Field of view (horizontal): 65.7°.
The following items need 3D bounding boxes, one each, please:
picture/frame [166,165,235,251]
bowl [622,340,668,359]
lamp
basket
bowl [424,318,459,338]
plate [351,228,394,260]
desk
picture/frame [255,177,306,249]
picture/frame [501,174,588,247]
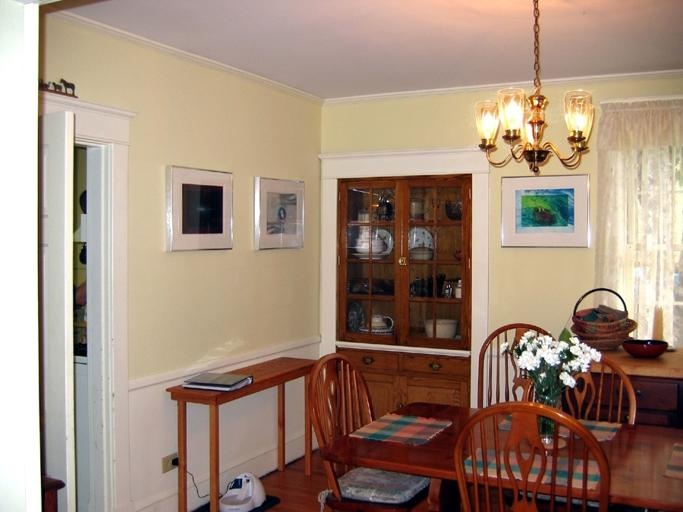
[{"bbox_3d":[-0.991,-0.336,3.709,0.059,0.612,0.610,0,1,38],"label":"picture/frame"},{"bbox_3d":[2.080,0.631,3.641,0.175,0.069,0.183,-3,1,0],"label":"bowl"},{"bbox_3d":[1.089,-0.923,3.169,0.541,0.933,1.276,-2,3,15],"label":"lamp"},{"bbox_3d":[1.850,0.428,3.948,0.437,0.491,0.491,-2,-1,4],"label":"basket"},{"bbox_3d":[0.876,0.630,4.622,0.178,0.119,0.189,0,-6,0],"label":"bowl"},{"bbox_3d":[0.306,-0.112,4.858,0.248,0.184,0.305,0,-8,7],"label":"plate"},{"bbox_3d":[-0.731,1.294,3.816,0.343,0.843,1.098,0,2,26],"label":"desk"},{"bbox_3d":[-0.466,-0.353,4.478,0.562,0.562,0.064,8,10,44],"label":"picture/frame"},{"bbox_3d":[1.677,-0.378,4.290,0.559,0.508,0.020,0,-1,21],"label":"picture/frame"}]
